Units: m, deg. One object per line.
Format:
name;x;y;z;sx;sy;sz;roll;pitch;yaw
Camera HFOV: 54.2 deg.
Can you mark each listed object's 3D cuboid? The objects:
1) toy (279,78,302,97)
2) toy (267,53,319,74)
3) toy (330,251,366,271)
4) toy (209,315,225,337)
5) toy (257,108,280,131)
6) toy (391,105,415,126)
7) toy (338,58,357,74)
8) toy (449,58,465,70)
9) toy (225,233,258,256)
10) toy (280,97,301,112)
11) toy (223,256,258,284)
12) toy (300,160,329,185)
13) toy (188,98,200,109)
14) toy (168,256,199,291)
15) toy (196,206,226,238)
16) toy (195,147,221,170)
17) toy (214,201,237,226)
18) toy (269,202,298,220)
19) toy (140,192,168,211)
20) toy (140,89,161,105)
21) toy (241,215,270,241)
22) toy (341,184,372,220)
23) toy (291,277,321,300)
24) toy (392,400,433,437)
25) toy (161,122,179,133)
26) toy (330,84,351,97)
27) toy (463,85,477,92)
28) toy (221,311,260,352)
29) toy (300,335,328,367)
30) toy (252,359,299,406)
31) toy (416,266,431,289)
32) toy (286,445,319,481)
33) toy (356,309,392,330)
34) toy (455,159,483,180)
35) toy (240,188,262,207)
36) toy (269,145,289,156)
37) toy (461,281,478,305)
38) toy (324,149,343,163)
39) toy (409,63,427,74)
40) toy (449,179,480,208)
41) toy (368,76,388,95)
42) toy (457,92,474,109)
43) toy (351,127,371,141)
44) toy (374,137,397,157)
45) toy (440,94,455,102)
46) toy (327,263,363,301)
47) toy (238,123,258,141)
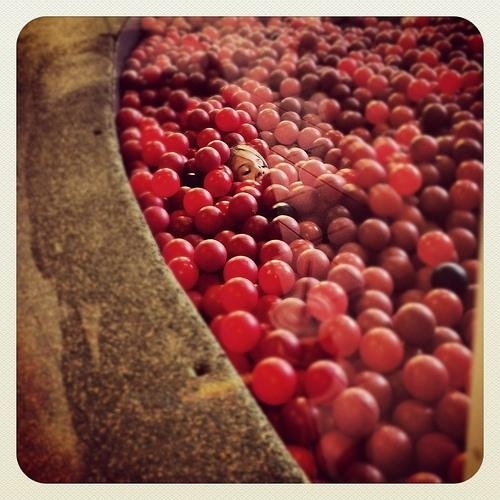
toy;0.114;-0.465;1.395;0.061;0.040;0.043;3;34;1
toy;0.136;-0.540;1.414;0.115;0.047;0.048;6;34;5
toy;0.256;0.026;1.262;0.060;0.061;0.053;2;24;-7
toy;-0.087;0.189;1.245;0.040;0.053;0.046;11;67;16
toy;0.048;-0.359;1.406;0.054;0.067;0.059;-15;61;-8
toy;0.414;-0.368;1.333;0.070;0.041;0.043;-8;35;-14
toy;0.276;-0.523;1.384;0.053;0.034;0.031;8;34;8
toy;0.583;-0.527;1.375;0.036;0.041;0.021;15;-2;3
toy;-0.021;-0.011;1.273;0.057;0.072;0.064;-4;64;-5
toy;0.115;-0.410;1.377;0.051;0.049;0.046;-4;46;-9
toy;-0.025;0.047;1.253;0.067;0.086;0.071;-1;47;-8
toy;0.170;-0.187;1.312;0.075;0.072;0.068;-14;-5;3
toy;-0.164;-0.422;1.403;0.032;0.030;0.029;-7;48;-25
toy;-0.170;0.056;1.269;0.070;0.096;0.076;-3;27;-4
toy;-0.111;-0.075;1.311;0.079;0.065;0.045;-2;33;-6
toy;-0.115;-0.246;1.340;0.072;0.057;0.040;0;33;-3
toy;-0.065;-0.099;1.313;0.056;0.063;0.056;16;-6;-38
toy;0.089;-0.105;1.290;0.050;0.048;0.046;2;53;-14
toy;-0.262;-0.135;1.326;0.056;0.055;0.050;12;12;26
toy;-0.287;-0.440;1.408;0.053;0.041;0.025;-7;34;-13
toy;0.022;-0.057;1.335;0.070;0.065;0.060;-25;-16;32
toy;0.280;-0.124;1.282;0.079;0.070;0.053;12;35;14
toy;0.136;0.094;1.200;0.064;0.058;0.059;-16;48;19
toy;0.400;0.412;1.199;0.084;0.093;0.101;-23;-17;41
toy;-0.229;-0.352;1.396;0.030;0.034;0.038;23;12;26
toy;0.254;-0.445;1.367;0.054;0.030;0.029;7;34;6
toy;0.618;-0.452;1.365;0.039;0.014;0.016;-5;35;-10
toy;-0.029;0.206;1.281;0.091;0.103;0.111;4;11;-9
toy;0.159;0.259;1.275;0.066;0.088;0.065;-23;28;-39
toy;0.062;0.330;1.268;0.105;0.135;0.112;6;48;-7
toy;0.450;0.070;1.266;0.043;0.059;0.046;0;14;34
toy;0.135;0.528;1.230;0.081;0.073;0.025;17;36;21
toy;0.308;0.176;1.227;0.059;0.066;0.071;-2;-15;-40
toy;0.592;-0.216;1.319;0.061;0.061;0.056;-2;12;14
toy;-0.001;-0.155;1.334;0.050;0.045;0.043;22;14;-27
toy;0.078;-0.277;1.345;0.037;0.023;0.031;26;55;10
toy;0.577;0.117;1.284;0.028;0.046;0.059;4;69;30
toy;0.226;-0.255;1.322;0.044;0.029;0.038;18;38;22
toy;0.471;-0.513;1.378;0.036;0.034;0.033;-14;42;-4
toy;0.578;-0.149;1.312;0.085;0.063;0.053;5;34;5
toy;0.356;-0.463;1.366;0.055;0.042;0.041;10;35;11
toy;0.595;-0.415;1.353;0.038;0.044;0.022;0;-9;-5
toy;0.301;-0.314;1.324;0.029;0.026;0.025;1;42;-41
toy;0.361;-0.276;1.305;0.055;0.049;0.045;23;13;30
toy;0.547;-0.420;1.351;0.028;0.017;0.025;26;46;16
toy;0.250;0.078;1.292;0.092;0.087;0.080;14;21;-38
toy;0.001;-0.335;1.392;0.043;0.055;0.045;20;50;31
